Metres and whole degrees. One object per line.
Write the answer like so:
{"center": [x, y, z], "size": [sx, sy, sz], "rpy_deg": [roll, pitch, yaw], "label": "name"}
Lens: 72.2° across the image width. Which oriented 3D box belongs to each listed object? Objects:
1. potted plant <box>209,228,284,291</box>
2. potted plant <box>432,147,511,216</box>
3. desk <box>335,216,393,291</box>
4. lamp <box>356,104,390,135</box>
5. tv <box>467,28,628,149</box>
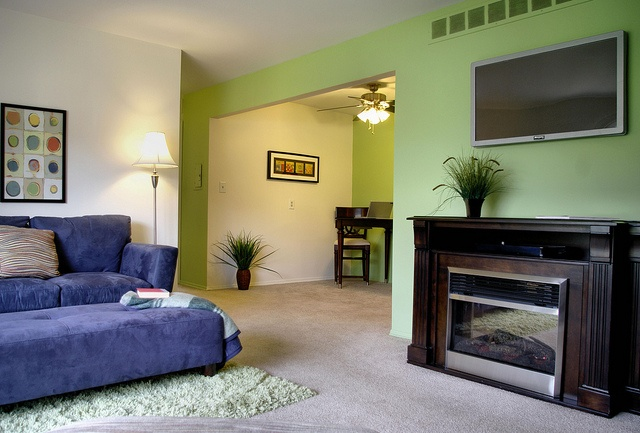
{"center": [-1.144, 0.618, 6.443], "size": [0.779, 0.662, 0.773], "rpy_deg": [0, 2, -16], "label": "potted plant"}
{"center": [1.285, -0.274, 3.816], "size": [0.515, 0.391, 0.573], "rpy_deg": [4, -4, -27], "label": "potted plant"}
{"center": [0.609, 0.564, 7.073], "size": [1.028, 1.175, 1.001], "rpy_deg": [0, 3, -2], "label": "desk"}
{"center": [0.682, -1.313, 5.795], "size": [0.445, 0.145, 0.447], "rpy_deg": [-8, 22, -1], "label": "lamp"}
{"center": [1.832, -0.997, 3.460], "size": [1.093, 0.778, 0.081], "rpy_deg": [-2, -2, 40], "label": "tv"}
